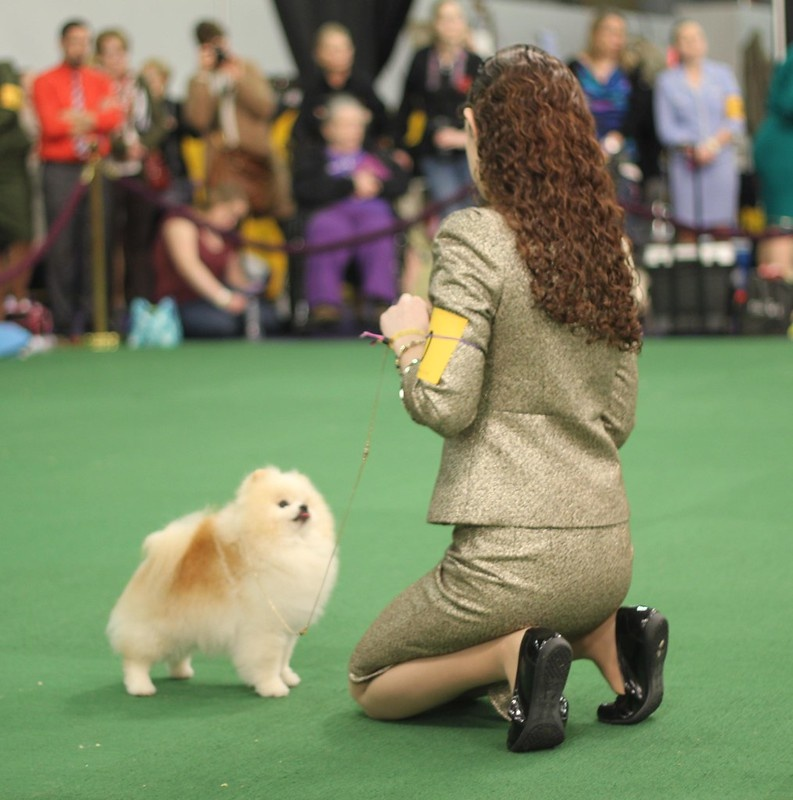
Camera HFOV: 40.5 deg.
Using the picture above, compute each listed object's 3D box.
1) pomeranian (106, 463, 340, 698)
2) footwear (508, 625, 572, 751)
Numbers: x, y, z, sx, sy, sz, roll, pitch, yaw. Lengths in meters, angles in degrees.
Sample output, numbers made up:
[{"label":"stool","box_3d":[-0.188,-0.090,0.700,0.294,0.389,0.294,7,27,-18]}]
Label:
[{"label":"pomeranian","box_3d":[-0.365,0.375,2.260,0.472,0.458,0.273,-3,-2,18]},{"label":"footwear","box_3d":[0.244,0.509,1.842,0.096,0.242,0.101,0,10,4]}]
